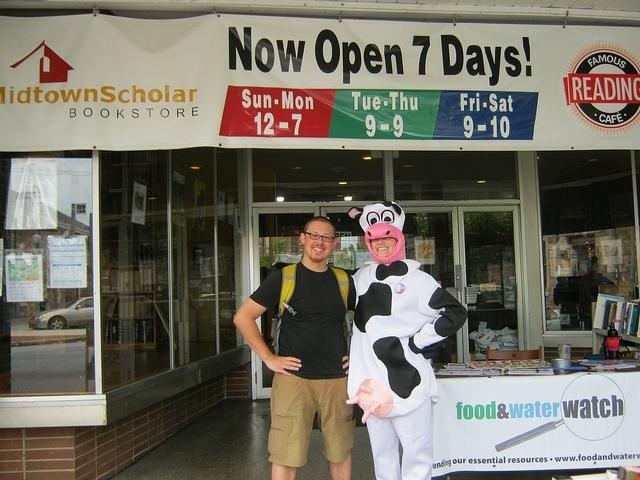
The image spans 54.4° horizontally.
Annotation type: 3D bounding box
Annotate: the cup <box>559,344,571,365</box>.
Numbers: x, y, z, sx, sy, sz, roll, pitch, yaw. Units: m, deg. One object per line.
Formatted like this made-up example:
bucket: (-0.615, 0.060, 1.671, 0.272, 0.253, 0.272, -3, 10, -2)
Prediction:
cup: (2.051, 0.968, 5.254, 0.120, 0.216, 0.129, 0, -3, 0)

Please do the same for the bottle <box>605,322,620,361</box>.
bottle: (2.760, 0.973, 5.910, 0.124, 0.343, 0.544, -1, 1, 24)
